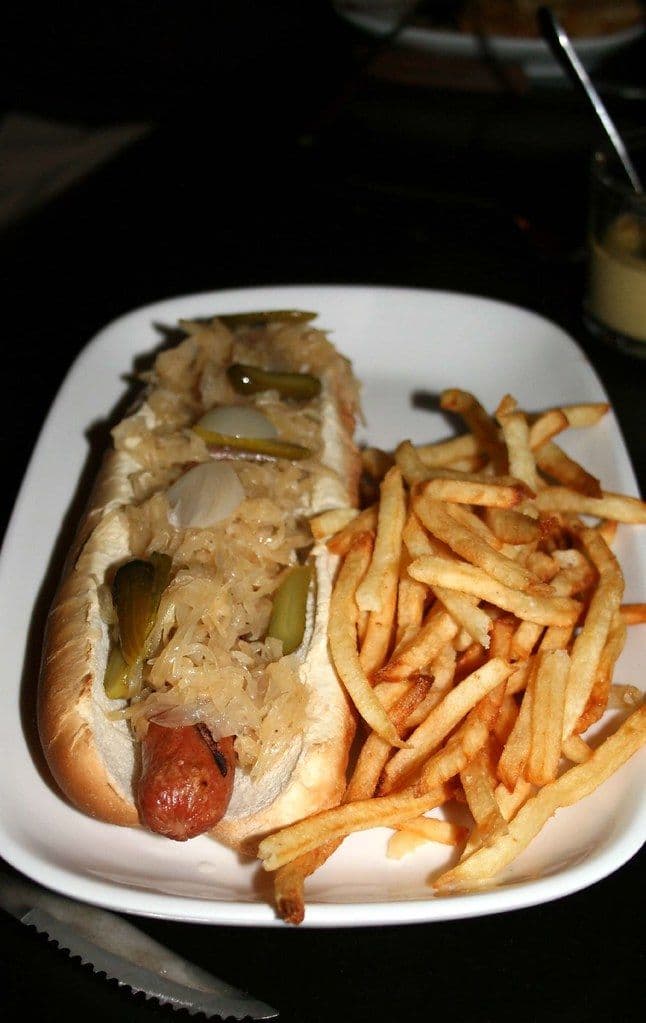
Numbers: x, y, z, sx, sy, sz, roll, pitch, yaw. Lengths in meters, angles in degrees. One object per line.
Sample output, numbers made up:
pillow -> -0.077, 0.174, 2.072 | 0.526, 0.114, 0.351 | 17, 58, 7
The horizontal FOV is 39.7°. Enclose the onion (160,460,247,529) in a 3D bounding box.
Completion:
onion -> -0.294, -0.045, 2.198 | 0.136, 0.137, 0.224 | -9, 22, -22

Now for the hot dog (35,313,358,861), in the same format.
hot dog -> -0.283, 0.104, 2.321 | 0.697, 0.471, 1.461 | 7, 54, -7
